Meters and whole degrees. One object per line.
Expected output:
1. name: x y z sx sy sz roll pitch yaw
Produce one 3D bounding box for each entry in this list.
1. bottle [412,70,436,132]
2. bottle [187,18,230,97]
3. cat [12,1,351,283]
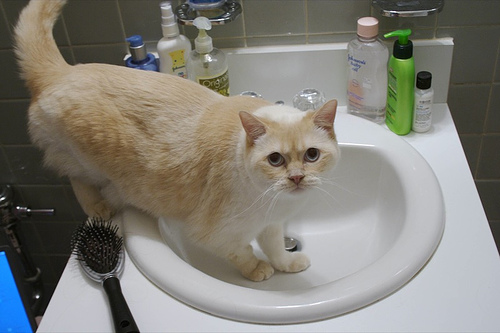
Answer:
1. bottle: 0.474 -0.177 1.125 0.058 0.156 0.058 -7 29 4
2. bottle: -0.114 -0.296 1.111 0.094 0.243 0.096 -1 49 1
3. cat: -0.186 -0.126 1.226 0.912 0.689 0.476 13 30 9
